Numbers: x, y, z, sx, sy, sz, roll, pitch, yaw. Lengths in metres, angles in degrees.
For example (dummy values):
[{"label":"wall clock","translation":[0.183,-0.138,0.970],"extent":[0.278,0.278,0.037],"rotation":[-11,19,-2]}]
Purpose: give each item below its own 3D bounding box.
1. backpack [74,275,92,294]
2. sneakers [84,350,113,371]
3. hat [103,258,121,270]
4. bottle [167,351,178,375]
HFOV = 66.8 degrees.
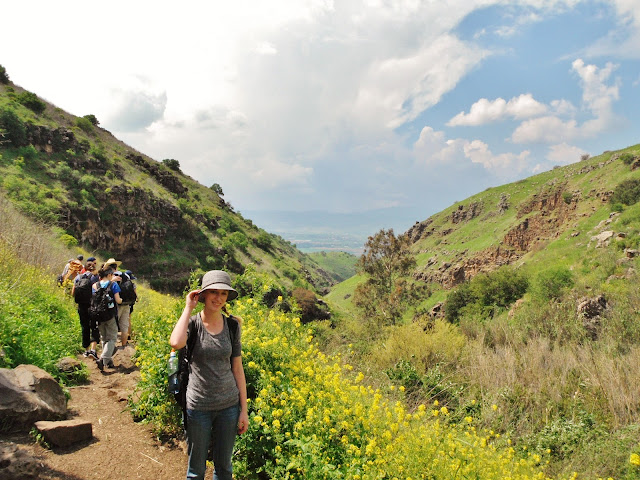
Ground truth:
[{"label":"backpack","translation":[-7.114,1.348,14.599],"extent":[0.419,0.605,0.306],"rotation":[7,-26,-39]},{"label":"sneakers","translation":[-6.527,3.578,14.316],"extent":[0.186,0.555,0.234],"rotation":[-40,-1,31]},{"label":"hat","translation":[-6.434,0.745,14.986],"extent":[0.545,0.207,0.559],"rotation":[-3,3,-29]},{"label":"bottle","translation":[-3.236,2.704,10.671],"extent":[0.137,0.512,0.298],"rotation":[6,-16,-41]}]
